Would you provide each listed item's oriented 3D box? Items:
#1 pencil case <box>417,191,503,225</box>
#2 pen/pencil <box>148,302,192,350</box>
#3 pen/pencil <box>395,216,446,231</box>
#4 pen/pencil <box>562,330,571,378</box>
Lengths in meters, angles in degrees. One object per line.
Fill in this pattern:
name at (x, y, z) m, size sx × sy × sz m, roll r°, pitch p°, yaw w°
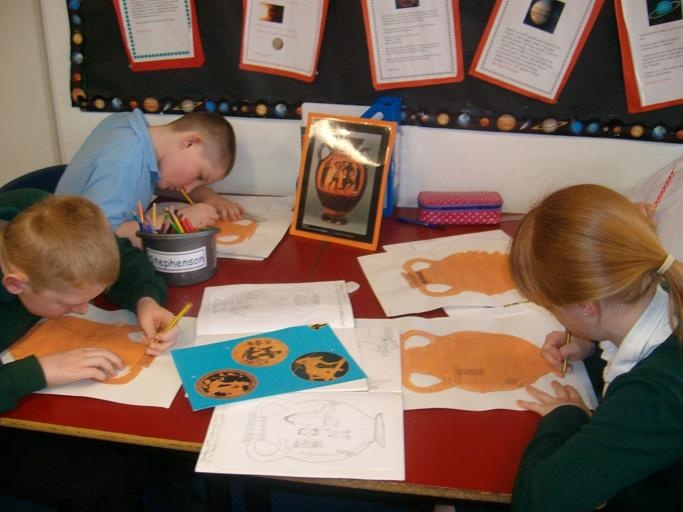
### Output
pencil case at (0.379, -0.190, 1.652) m, size 0.317 × 0.093 × 0.222 m, roll 4°, pitch 23°, yaw 14°
pen/pencil at (-0.359, 0.143, 1.132) m, size 0.026 × 0.146 × 0.023 m, roll 50°, pitch 4°, yaw -12°
pen/pencil at (0.240, -0.095, 1.592) m, size 0.131 × 0.017 × 0.018 m, roll 12°, pitch 32°, yaw 9°
pen/pencil at (0.448, 0.198, 1.061) m, size 0.013 × 0.012 × 0.108 m, roll 23°, pitch 64°, yaw -18°
